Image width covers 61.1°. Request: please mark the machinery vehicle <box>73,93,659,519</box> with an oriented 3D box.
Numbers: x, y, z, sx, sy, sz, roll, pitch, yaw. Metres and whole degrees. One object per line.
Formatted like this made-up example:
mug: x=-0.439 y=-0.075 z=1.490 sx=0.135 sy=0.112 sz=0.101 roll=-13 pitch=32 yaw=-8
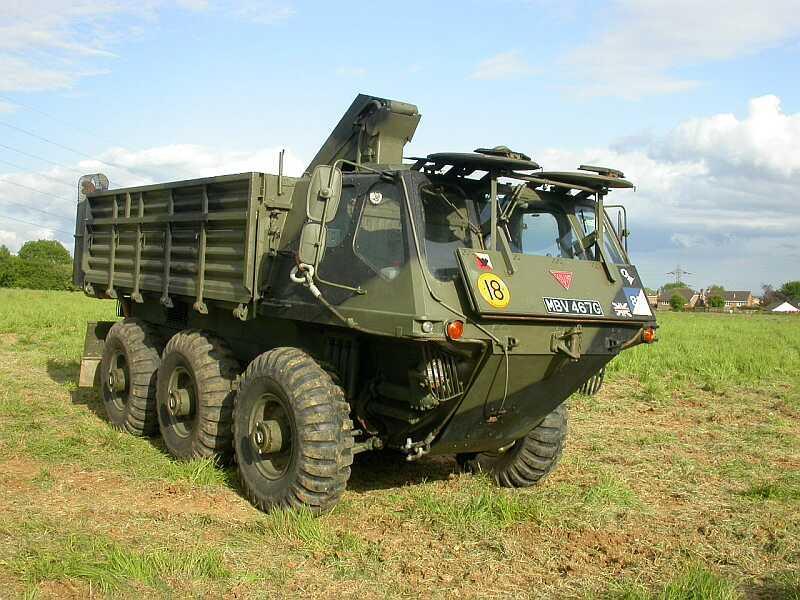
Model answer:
machinery vehicle: x=-0.858 y=-0.209 z=8.364 sx=3.801 sy=3.893 sz=6.895 roll=3 pitch=-3 yaw=-38
